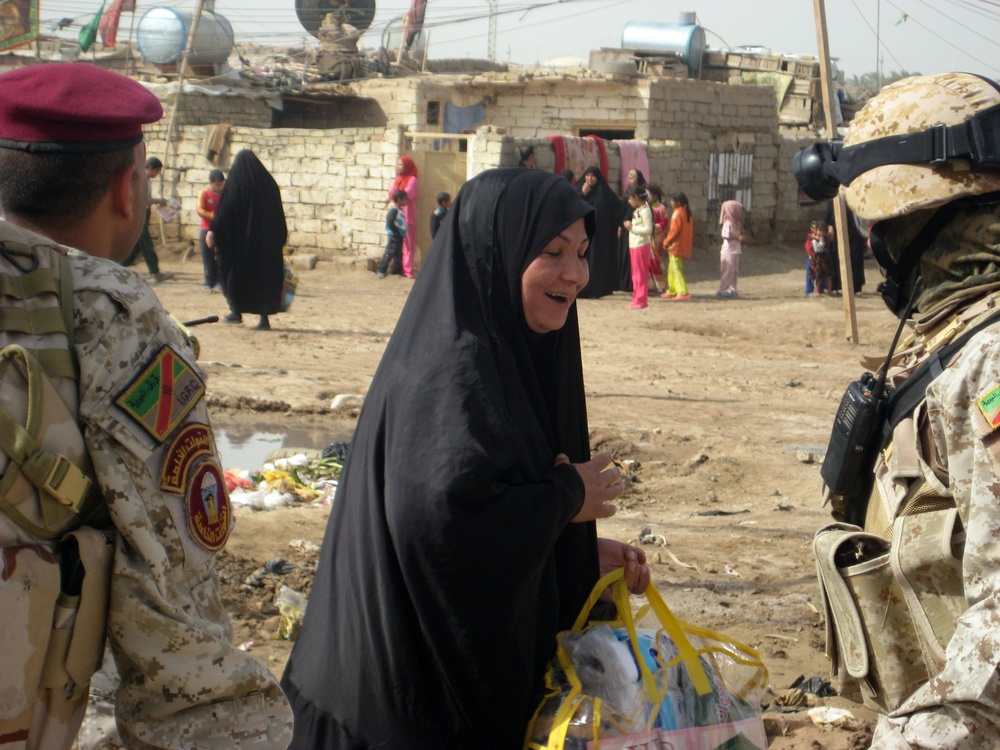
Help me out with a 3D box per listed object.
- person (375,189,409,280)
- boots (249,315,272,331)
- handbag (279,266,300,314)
[{"bbox_3d":[-1.489,-1.945,15.995,0.460,1.479,0.469,1,40,-2],"label":"person"},{"bbox_3d":[-2.374,-0.509,11.367,0.171,0.216,0.113,5,6,8],"label":"boots"},{"bbox_3d":[-2.159,-0.862,11.616,0.177,0.526,0.359,2,0,0],"label":"handbag"}]
